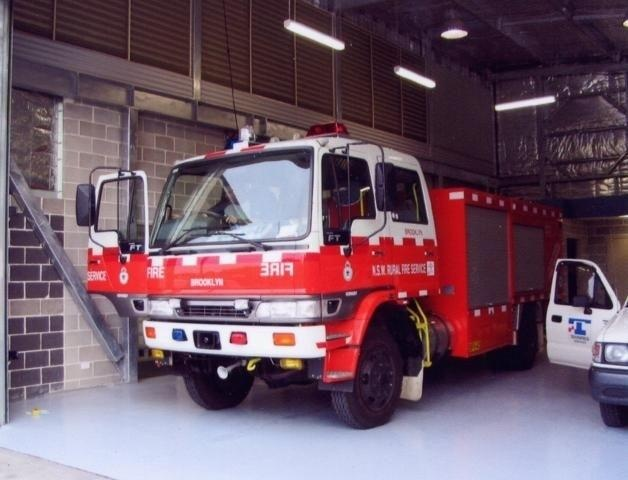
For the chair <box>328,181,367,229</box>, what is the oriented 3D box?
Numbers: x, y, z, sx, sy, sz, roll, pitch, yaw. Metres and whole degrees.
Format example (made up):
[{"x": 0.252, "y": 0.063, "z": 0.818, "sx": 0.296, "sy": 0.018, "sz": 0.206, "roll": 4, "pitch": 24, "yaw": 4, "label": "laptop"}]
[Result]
[{"x": 0.419, "y": -0.411, "z": 7.018, "sx": 0.229, "sy": 0.528, "sz": 0.832, "roll": 0, "pitch": 1, "yaw": 29, "label": "chair"}]

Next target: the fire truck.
[{"x": 0.788, "y": 0.348, "z": 9.059, "sx": 3.302, "sy": 3.441, "sz": 6.769, "roll": -6, "pitch": -10, "yaw": 36, "label": "fire truck"}]

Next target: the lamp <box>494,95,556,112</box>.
[{"x": 6.366, "y": -4.078, "z": 17.604, "sx": 0.979, "sy": 0.198, "sz": 0.191, "roll": -13, "pitch": -25, "yaw": 16, "label": "lamp"}]

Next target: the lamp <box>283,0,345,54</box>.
[{"x": 0.041, "y": -4.447, "z": 12.308, "sx": 1.114, "sy": 0.918, "sz": 2.440, "roll": -1, "pitch": 1, "yaw": 2, "label": "lamp"}]
